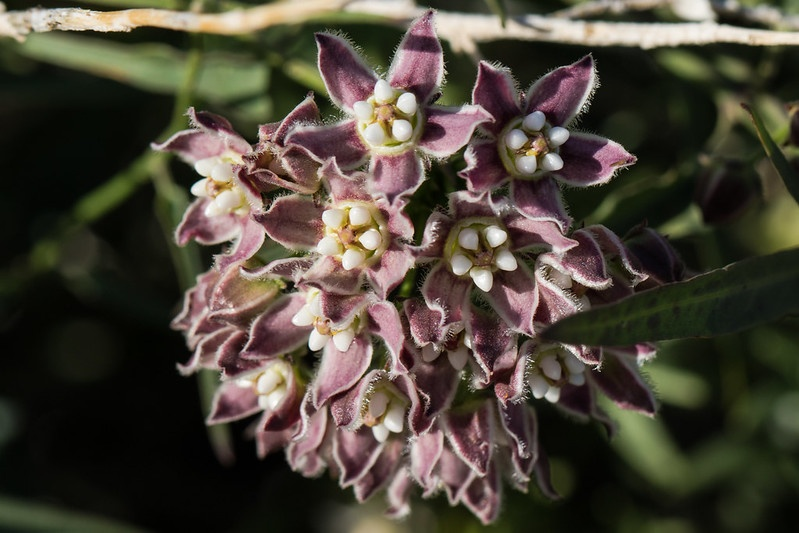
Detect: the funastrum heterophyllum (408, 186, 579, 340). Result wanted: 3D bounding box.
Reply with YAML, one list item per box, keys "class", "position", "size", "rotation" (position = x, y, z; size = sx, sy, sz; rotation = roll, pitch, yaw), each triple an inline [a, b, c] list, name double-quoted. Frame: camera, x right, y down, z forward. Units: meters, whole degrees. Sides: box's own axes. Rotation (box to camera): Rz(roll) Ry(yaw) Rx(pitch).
- class: "funastrum heterophyllum"
  position: [0.393, 0.029, 3.950]
  size: [0.645, 0.324, 0.634]
  rotation: [22, 81, 5]

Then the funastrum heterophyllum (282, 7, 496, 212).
- class: "funastrum heterophyllum"
  position: [-0.016, -0.706, 4.178]
  size: [0.822, 0.922, 0.337]
  rotation: [-8, 46, 21]

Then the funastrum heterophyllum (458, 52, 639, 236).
- class: "funastrum heterophyllum"
  position: [0.633, -0.677, 4.301]
  size: [0.817, 1.017, 0.396]
  rotation: [-13, 76, 9]

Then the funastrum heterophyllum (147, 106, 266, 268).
- class: "funastrum heterophyllum"
  position: [-0.870, -0.362, 4.206]
  size: [0.291, 0.574, 0.777]
  rotation: [-17, 85, -44]
